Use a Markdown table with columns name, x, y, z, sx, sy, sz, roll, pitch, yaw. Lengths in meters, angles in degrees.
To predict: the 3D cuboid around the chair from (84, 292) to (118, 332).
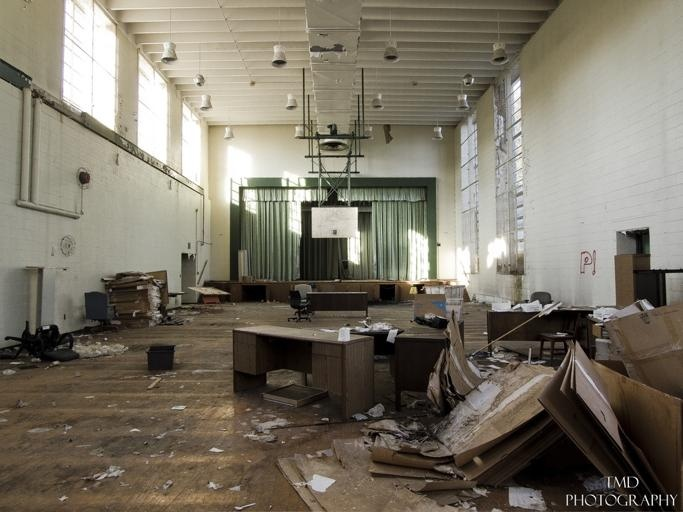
| name | x | y | z | sx | sy | sz | roll | pitch | yaw |
| --- | --- | --- | --- | --- | --- | --- | --- | --- | --- |
| chair | -4.998 | 1.139 | 10.056 | 0.560 | 0.896 | 0.795 | -4 | 7 | -26 |

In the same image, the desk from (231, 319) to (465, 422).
| name | x | y | z | sx | sy | sz | roll | pitch | yaw |
| --- | --- | --- | --- | --- | --- | --- | --- | --- | --- |
| desk | -0.091 | 1.317 | 5.934 | 2.524 | 0.855 | 0.980 | 3 | 7 | 29 |

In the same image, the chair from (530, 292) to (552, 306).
| name | x | y | z | sx | sy | sz | roll | pitch | yaw |
| --- | --- | --- | --- | --- | --- | --- | --- | --- | --- |
| chair | 3.860 | 0.826 | 9.417 | 0.306 | 0.368 | 0.299 | -3 | -4 | 35 |

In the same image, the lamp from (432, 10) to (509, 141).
| name | x | y | z | sx | sy | sz | roll | pitch | yaw |
| --- | --- | --- | --- | --- | --- | --- | --- | --- | --- |
| lamp | 3.262 | -3.872 | 12.526 | 0.558 | 0.745 | 4.454 | 9 | -31 | -6 |
